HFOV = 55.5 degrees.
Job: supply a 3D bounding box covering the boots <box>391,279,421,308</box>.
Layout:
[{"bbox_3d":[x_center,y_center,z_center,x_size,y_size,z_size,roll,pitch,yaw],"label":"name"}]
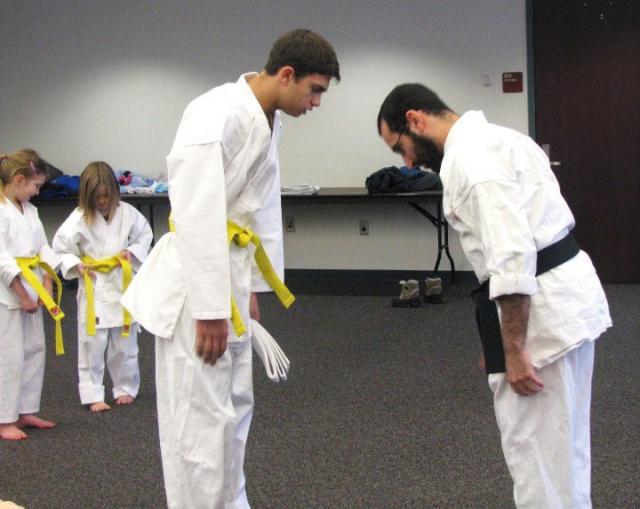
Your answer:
[{"bbox_3d":[0.696,0.321,4.921,0.223,0.259,0.172,-2,-1,7],"label":"boots"}]
